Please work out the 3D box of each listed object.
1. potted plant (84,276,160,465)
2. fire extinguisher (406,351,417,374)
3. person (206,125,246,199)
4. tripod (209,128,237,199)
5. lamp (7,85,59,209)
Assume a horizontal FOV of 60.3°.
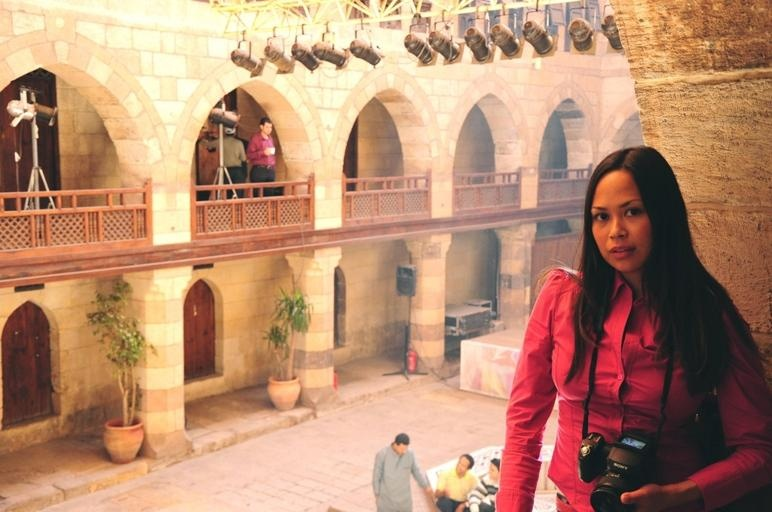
[{"bbox_3d":[-5.131,2.141,12.874,0.982,3.277,1.813,-1,12,-28],"label":"potted plant"},{"bbox_3d":[0.729,2.877,18.123,0.317,0.605,0.199,2,11,-15],"label":"fire extinguisher"},{"bbox_3d":[-3.457,-2.020,14.598,0.804,1.706,0.648,7,41,-4],"label":"person"},{"bbox_3d":[-3.405,-2.021,14.106,0.418,1.509,2.094,2,11,-15],"label":"tripod"},{"bbox_3d":[-6.220,-1.808,11.774,0.751,2.276,2.746,-1,12,-29],"label":"lamp"}]
